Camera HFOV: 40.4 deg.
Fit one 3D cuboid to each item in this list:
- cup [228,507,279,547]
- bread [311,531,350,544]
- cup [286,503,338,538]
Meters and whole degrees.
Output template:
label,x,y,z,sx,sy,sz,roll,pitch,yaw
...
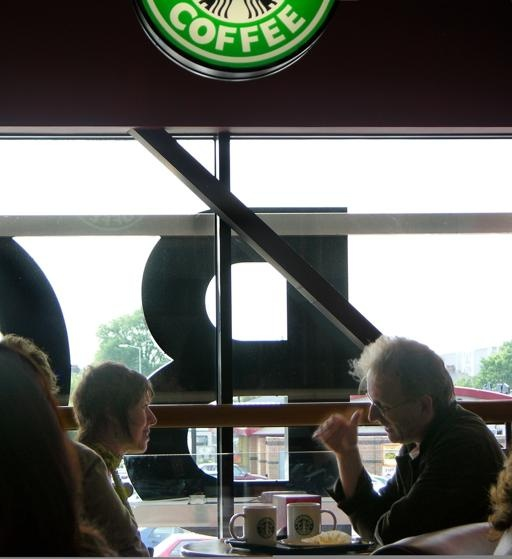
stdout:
label,x,y,z,sx,sy,sz,roll,pitch,yaw
cup,-0.005,0.631,1.809,0.122,0.114,0.078,-1,-3,-4
bread,0.202,0.692,1.878,0.069,0.022,0.048,1,4,0
cup,0.144,0.631,1.832,0.102,0.091,0.062,2,-7,-11
